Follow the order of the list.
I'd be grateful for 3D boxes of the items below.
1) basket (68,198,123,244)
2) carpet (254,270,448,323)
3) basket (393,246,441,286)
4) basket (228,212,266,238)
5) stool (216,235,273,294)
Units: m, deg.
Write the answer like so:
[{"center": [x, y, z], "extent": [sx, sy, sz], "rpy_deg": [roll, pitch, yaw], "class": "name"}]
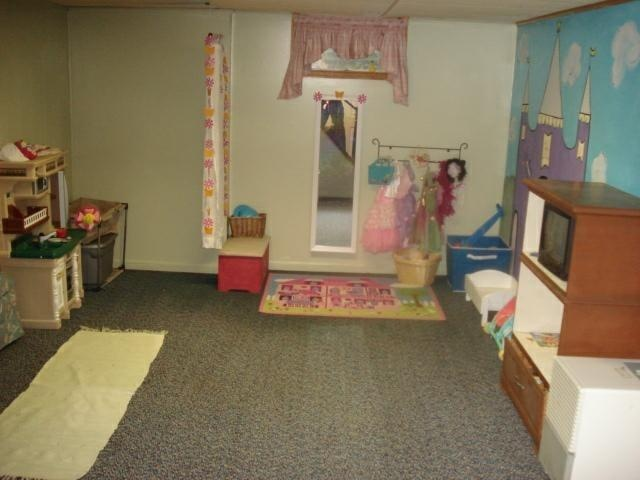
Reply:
[{"center": [-2.840, -0.333, 6.433], "extent": [0.598, 0.253, 0.620], "rpy_deg": [5, 22, 2], "class": "basket"}, {"center": [0.376, 0.716, 6.340], "extent": [2.251, 0.110, 1.162], "rpy_deg": [1, 16, 1], "class": "carpet"}, {"center": [1.282, 0.370, 6.695], "extent": [0.468, 0.392, 0.582], "rpy_deg": [3, 8, 15], "class": "basket"}, {"center": [-0.996, -0.194, 6.614], "extent": [0.290, 0.234, 0.433], "rpy_deg": [1, 10, -1], "class": "basket"}, {"center": [-1.031, 0.310, 6.582], "extent": [0.597, 0.579, 0.627], "rpy_deg": [1, 16, 2], "class": "stool"}]
